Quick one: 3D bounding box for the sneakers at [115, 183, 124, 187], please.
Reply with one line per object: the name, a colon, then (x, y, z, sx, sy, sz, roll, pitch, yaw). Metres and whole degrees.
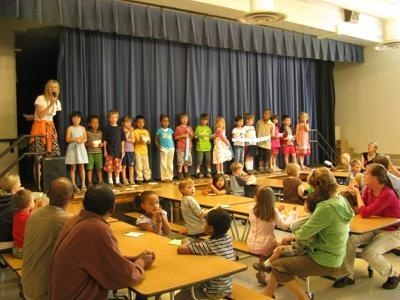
sneakers: (-1.539, 0.676, 6.227, 0.183, 0.136, 0.062, -7, -5, 41)

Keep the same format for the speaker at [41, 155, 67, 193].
speaker: (-1.935, 0.350, 4.363, 0.321, 0.477, 0.262, -3, -5, -25)

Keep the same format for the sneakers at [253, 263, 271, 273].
sneakers: (0.585, 1.126, 3.128, 0.135, 0.060, 0.075, 19, 12, 28)

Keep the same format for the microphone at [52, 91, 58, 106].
microphone: (-2.295, -0.822, 5.163, 0.046, 0.162, 0.112, 3, 6, -4)
